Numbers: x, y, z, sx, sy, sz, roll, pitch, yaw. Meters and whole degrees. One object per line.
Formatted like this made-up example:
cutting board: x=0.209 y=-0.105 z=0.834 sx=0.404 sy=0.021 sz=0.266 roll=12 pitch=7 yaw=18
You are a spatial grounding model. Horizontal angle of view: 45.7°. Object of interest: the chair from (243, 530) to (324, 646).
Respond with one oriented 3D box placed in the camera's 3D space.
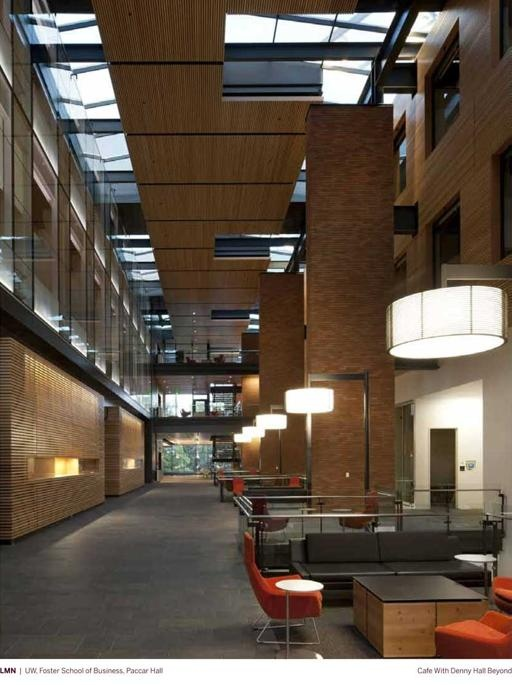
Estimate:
chair: x=0.206 y=1.984 z=4.902 sx=0.742 sy=0.960 sz=0.699 roll=0 pitch=-8 yaw=0
